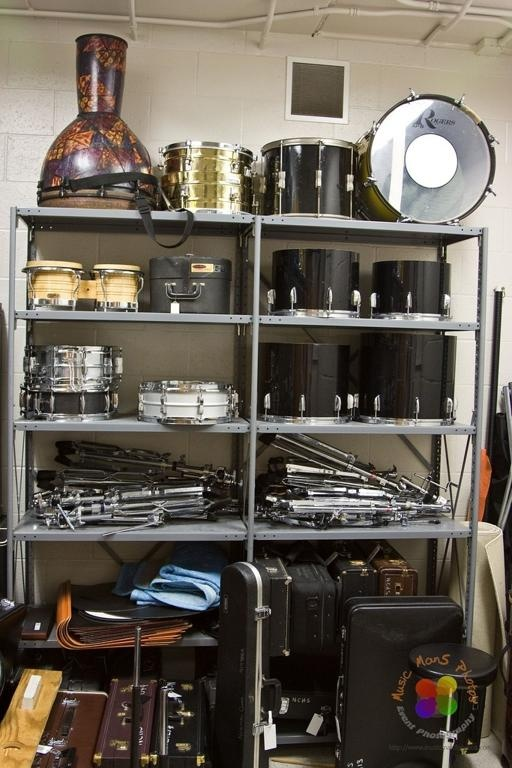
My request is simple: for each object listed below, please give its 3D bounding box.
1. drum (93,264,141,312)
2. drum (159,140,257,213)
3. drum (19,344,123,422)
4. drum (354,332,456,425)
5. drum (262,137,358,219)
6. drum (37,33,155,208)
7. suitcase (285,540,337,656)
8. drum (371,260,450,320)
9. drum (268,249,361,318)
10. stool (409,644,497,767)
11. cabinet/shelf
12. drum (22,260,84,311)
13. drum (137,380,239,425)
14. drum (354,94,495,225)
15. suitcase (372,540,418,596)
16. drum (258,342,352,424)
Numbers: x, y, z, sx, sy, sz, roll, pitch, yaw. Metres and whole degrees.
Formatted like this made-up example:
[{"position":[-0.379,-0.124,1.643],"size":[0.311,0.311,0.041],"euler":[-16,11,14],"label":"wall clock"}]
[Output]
[{"position":[-0.510,-0.355,2.716],"size":[0.186,0.151,0.175],"euler":[-1,4,-7],"label":"drum"},{"position":[-0.191,-0.794,2.881],"size":[0.385,0.245,0.376],"euler":[1,8,0],"label":"drum"},{"position":[-0.698,-0.006,2.761],"size":[0.306,0.212,0.295],"euler":[1,0,0],"label":"drum"},{"position":[0.628,-0.027,3.035],"size":[0.377,0.358,0.374],"euler":[2,2,28],"label":"drum"},{"position":[0.196,-0.782,2.769],"size":[0.319,0.228,0.319],"euler":[1,0,0],"label":"drum"},{"position":[-0.582,-0.964,2.836],"size":[0.495,0.699,0.481],"euler":[2,13,-1],"label":"drum"},{"position":[0.212,0.837,2.782],"size":[0.187,0.294,0.374],"euler":[1,5,3],"label":"suitcase"},{"position":[0.615,-0.375,2.944],"size":[0.260,0.185,0.255],"euler":[1,1,0],"label":"drum"},{"position":[0.204,-0.404,2.956],"size":[0.432,0.250,0.420],"euler":[0,6,0],"label":"drum"},{"position":[0.635,1.117,2.404],"size":[0.257,0.518,0.444],"euler":[1,5,13],"label":"stool"},{"position":[-0.093,0.364,2.795],"size":[2.182,2.397,0.732],"euler":[1,1,-9],"label":"cabinet/shelf"},{"position":[-0.742,-0.357,2.686],"size":[0.189,0.135,0.188],"euler":[1,6,0],"label":"drum"},{"position":[-0.255,0.068,2.741],"size":[0.373,0.164,0.166],"euler":[0,5,-5],"label":"drum"},{"position":[0.678,-0.878,2.981],"size":[0.532,0.517,0.410],"euler":[2,5,-8],"label":"drum"},{"position":[0.532,0.760,2.997],"size":[0.137,0.164,0.434],"euler":[2,1,-4],"label":"suitcase"},{"position":[0.194,-0.012,2.980],"size":[0.385,0.293,0.394],"euler":[1,0,0],"label":"drum"}]
